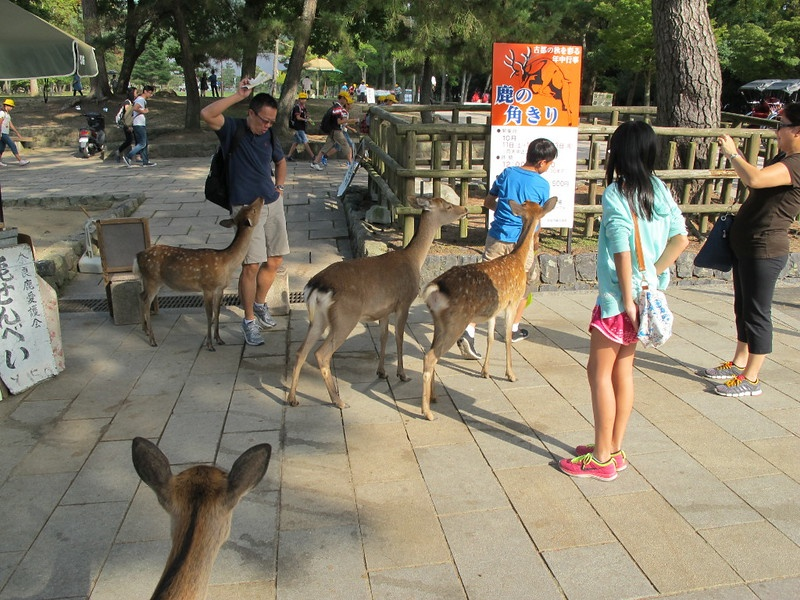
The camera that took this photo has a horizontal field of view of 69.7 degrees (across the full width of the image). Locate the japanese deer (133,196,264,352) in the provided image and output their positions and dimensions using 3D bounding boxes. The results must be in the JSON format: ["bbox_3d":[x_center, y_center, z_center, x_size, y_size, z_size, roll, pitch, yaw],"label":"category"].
[{"bbox_3d":[-2.045,-0.282,5.744,1.285,1.482,0.461,3,14,6],"label":"japanese deer"}]

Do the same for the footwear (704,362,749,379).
[{"bbox_3d":[2.928,0.625,5.169,0.315,0.142,0.128,-4,30,9],"label":"footwear"}]

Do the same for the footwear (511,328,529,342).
[{"bbox_3d":[1.246,0.353,6.037,0.244,0.104,0.103,-22,38,-31],"label":"footwear"}]

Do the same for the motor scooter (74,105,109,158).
[{"bbox_3d":[-9.844,-5.305,18.379,0.794,1.410,1.467,-6,16,-28],"label":"motor scooter"}]

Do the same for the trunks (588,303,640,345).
[{"bbox_3d":[1.344,0.156,3.676,0.250,0.269,0.251,-5,11,-40],"label":"trunks"}]

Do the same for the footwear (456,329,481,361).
[{"bbox_3d":[0.694,0.449,5.589,0.145,0.445,0.203,7,60,28],"label":"footwear"}]

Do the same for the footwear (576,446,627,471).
[{"bbox_3d":[1.366,1.087,3.911,0.253,0.106,0.093,24,38,34],"label":"footwear"}]

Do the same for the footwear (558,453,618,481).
[{"bbox_3d":[1.282,1.144,3.988,0.389,0.178,0.159,2,9,10],"label":"footwear"}]

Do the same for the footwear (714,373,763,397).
[{"bbox_3d":[2.882,0.745,5.010,0.437,0.215,0.171,-1,8,5],"label":"footwear"}]
